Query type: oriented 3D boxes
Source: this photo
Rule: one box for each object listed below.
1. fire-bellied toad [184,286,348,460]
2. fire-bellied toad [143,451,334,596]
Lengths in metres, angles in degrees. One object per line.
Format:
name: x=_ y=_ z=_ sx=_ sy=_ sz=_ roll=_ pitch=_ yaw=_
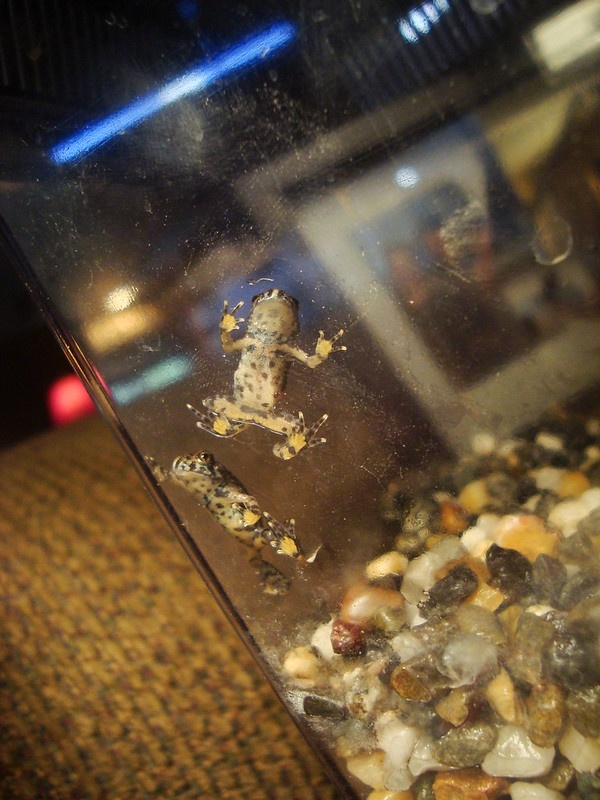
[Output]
fire-bellied toad: x=-0.068 y=-0.037 z=1.435 sx=0.315 sy=0.255 sz=0.075 roll=7 pitch=3 yaw=-1
fire-bellied toad: x=-0.075 y=0.179 z=1.509 sx=0.213 sy=0.273 sz=0.077 roll=-39 pitch=17 yaw=35
